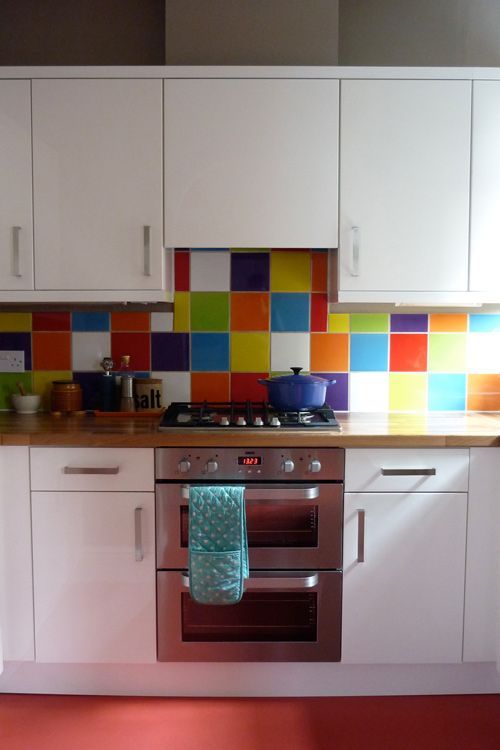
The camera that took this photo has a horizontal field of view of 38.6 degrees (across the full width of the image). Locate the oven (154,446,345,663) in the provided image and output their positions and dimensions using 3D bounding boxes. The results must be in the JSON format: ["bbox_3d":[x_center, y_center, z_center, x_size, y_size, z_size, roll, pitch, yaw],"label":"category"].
[{"bbox_3d":[0.001,0.508,2.453,0.621,0.791,0.552,2,18,5],"label":"oven"}]

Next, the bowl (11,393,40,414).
[{"bbox_3d":[-0.838,0.109,2.666,0.077,0.054,0.079,1,-3,0],"label":"bowl"}]

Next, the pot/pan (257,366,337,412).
[{"bbox_3d":[0.158,0.061,2.452,0.192,0.114,0.166,-1,-4,2],"label":"pot/pan"}]

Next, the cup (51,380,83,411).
[{"bbox_3d":[-0.678,0.074,2.625,0.101,0.103,0.105,0,1,0],"label":"cup"}]
